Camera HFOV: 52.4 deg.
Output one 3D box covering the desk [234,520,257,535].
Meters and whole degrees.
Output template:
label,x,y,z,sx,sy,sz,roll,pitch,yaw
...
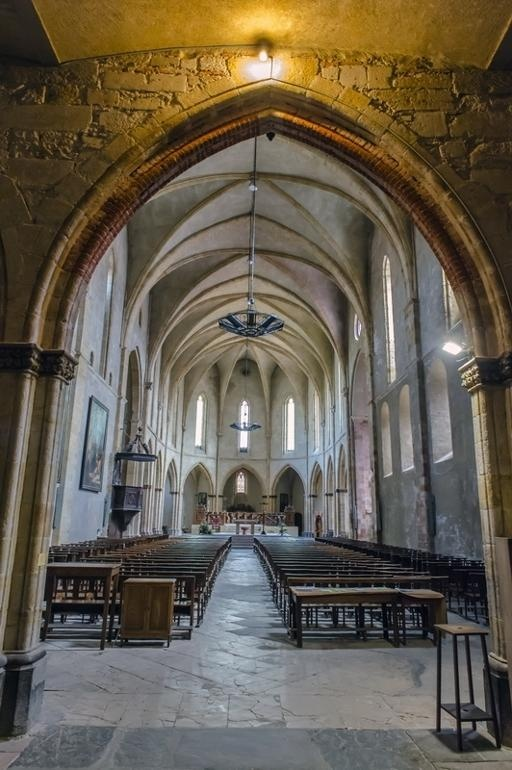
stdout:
label,x,y,z,sx,sy,sz,roll,pitch,yaw
desk,-0.655,8.790,32.481,1.582,1.177,0.992,0,-21,0
